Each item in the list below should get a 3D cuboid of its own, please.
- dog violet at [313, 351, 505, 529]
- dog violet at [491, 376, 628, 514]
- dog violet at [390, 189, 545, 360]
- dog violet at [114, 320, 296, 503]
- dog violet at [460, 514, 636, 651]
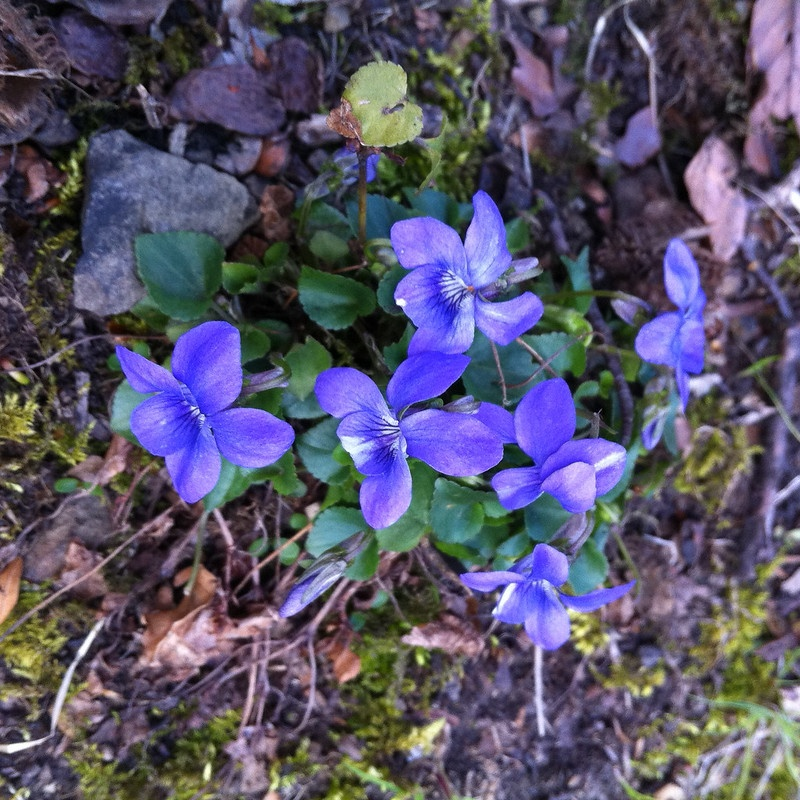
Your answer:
[{"bbox_3d":[0.019,0.061,2.263,0.398,0.158,0.396,-22,74,-4],"label":"dog violet"},{"bbox_3d":[0.408,0.197,2.471,0.354,0.598,0.313,-8,70,-1],"label":"dog violet"},{"bbox_3d":[0.164,-0.321,2.307,0.360,0.228,0.331,-9,72,-1],"label":"dog violet"},{"bbox_3d":[-0.498,0.038,2.398,0.402,0.490,0.409,-17,72,-4],"label":"dog violet"},{"bbox_3d":[0.409,0.629,2.690,0.426,1.013,0.266,-25,71,-7],"label":"dog violet"}]
